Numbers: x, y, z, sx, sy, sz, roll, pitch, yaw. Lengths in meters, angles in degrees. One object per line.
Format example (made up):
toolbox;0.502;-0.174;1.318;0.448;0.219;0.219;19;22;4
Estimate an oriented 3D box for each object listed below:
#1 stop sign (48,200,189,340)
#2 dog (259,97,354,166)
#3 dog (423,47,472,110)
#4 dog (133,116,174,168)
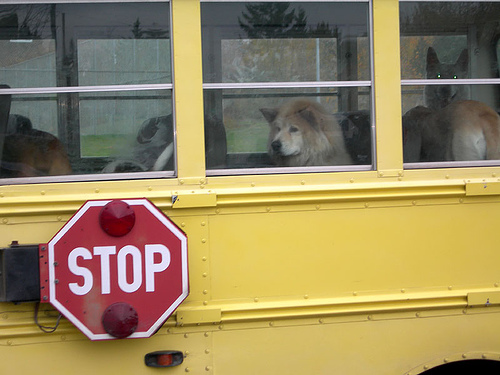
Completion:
stop sign;-0.794;0.480;6.511;0.710;0.755;0.104;0;-3;-6
dog;0.360;-0.341;6.894;0.395;0.477;0.582;4;7;40
dog;1.196;-0.663;6.847;0.225;0.430;0.404;1;-17;12
dog;-0.572;-0.266;6.761;0.183;0.277;0.455;-14;-5;-17
